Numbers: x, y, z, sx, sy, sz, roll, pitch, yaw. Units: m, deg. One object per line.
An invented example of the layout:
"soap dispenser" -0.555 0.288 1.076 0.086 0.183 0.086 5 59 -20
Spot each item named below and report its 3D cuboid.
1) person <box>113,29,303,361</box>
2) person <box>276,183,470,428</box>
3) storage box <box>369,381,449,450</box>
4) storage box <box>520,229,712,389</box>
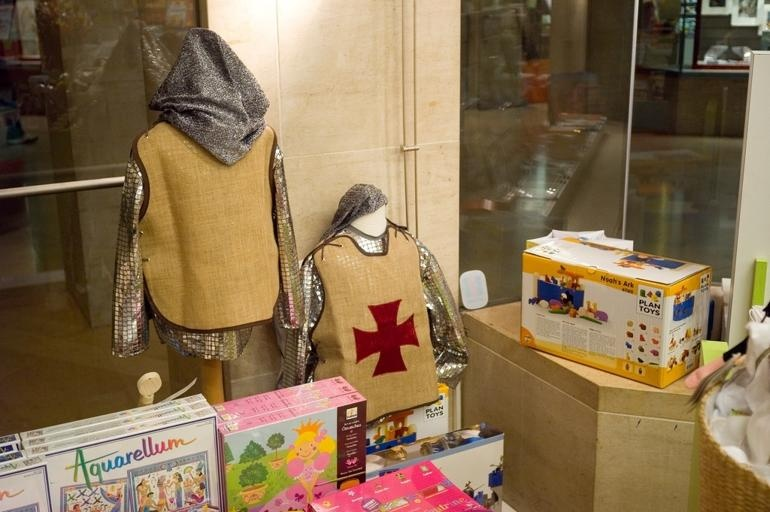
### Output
"person" -0.741 -0.213 2.338 0.719 1.237 0.250 -7 14 -8
"person" -0.088 0.224 2.768 1.132 1.083 0.426 -10 16 -28
"storage box" 0.116 0.813 2.937 0.333 0.216 0.301 -8 11 -21
"storage box" 1.068 0.245 2.837 0.418 0.474 0.765 -10 14 -35
